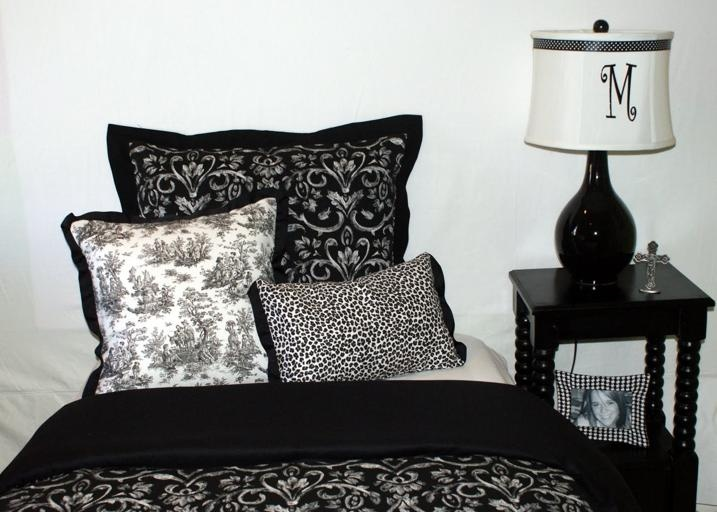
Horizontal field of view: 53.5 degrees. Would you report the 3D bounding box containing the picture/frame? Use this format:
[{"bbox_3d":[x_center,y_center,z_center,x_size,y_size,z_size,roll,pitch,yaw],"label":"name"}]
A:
[{"bbox_3d":[1.004,0.649,2.949,0.319,0.260,0.017,1,4,13],"label":"picture/frame"}]

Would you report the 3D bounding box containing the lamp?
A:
[{"bbox_3d":[0.971,-0.400,2.908,0.571,1.057,0.336,6,21,22],"label":"lamp"}]
